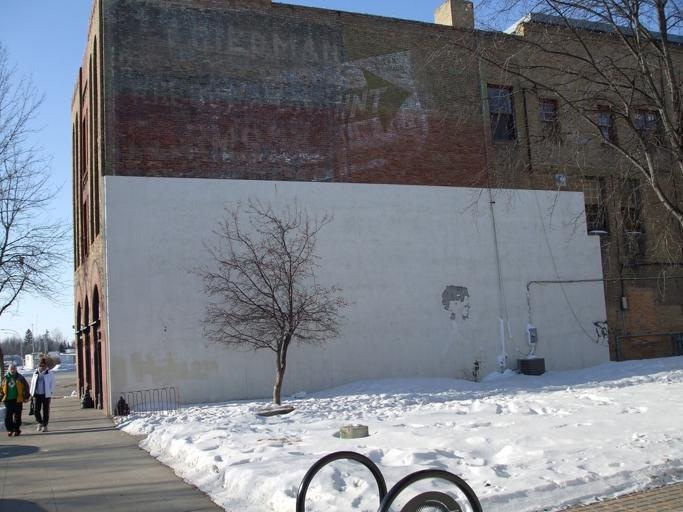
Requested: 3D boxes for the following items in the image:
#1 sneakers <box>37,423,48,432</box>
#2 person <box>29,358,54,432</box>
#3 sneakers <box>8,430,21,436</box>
[{"bbox_3d":[-8.753,5.050,19.730,0.229,0.207,0.206,-6,-8,22],"label":"sneakers"},{"bbox_3d":[-8.900,4.106,20.121,0.573,2.156,1.276,-1,-6,-30],"label":"person"},{"bbox_3d":[-9.283,5.048,19.161,0.297,0.146,0.103,-18,10,-29],"label":"sneakers"}]
